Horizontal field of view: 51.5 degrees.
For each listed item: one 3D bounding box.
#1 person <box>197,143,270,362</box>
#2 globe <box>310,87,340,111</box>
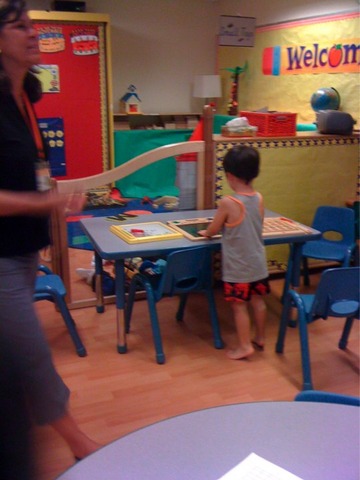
[{"bbox_3d":[0.330,0.089,2.231,0.387,1.249,0.246,0,0,11],"label":"person"},{"bbox_3d":[1.899,-1.822,4.885,0.335,0.380,0.295,0,0,-16],"label":"globe"}]
